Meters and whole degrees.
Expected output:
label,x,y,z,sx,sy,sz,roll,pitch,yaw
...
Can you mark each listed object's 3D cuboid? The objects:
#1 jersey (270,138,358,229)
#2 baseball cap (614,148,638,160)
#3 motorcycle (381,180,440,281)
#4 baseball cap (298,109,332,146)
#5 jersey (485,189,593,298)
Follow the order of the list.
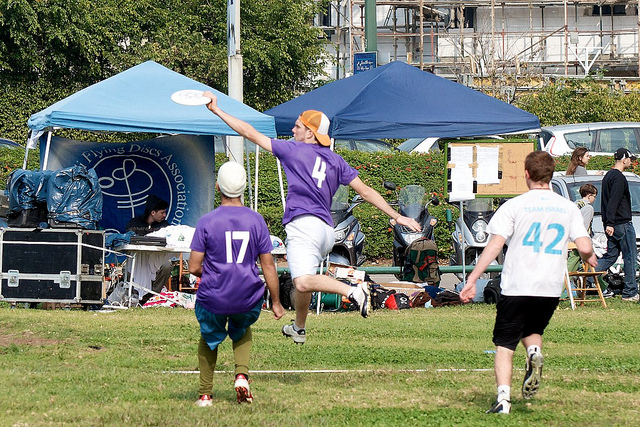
label,x,y,z,sx,sy,sz,roll,pitch,yaw
jersey,-0.134,-0.337,11.634,1.424,1.085,0.426,12,-17,-29
baseball cap,5.534,-1.082,17.330,0.251,0.208,0.314,2,8,14
motorcycle,1.678,0.212,18.263,1.213,1.584,2.473,3,9,-1
baseball cap,-0.004,-1.102,11.714,0.480,0.249,0.309,40,16,2
jersey,2.449,0.308,10.625,1.183,1.086,0.459,1,3,-11
